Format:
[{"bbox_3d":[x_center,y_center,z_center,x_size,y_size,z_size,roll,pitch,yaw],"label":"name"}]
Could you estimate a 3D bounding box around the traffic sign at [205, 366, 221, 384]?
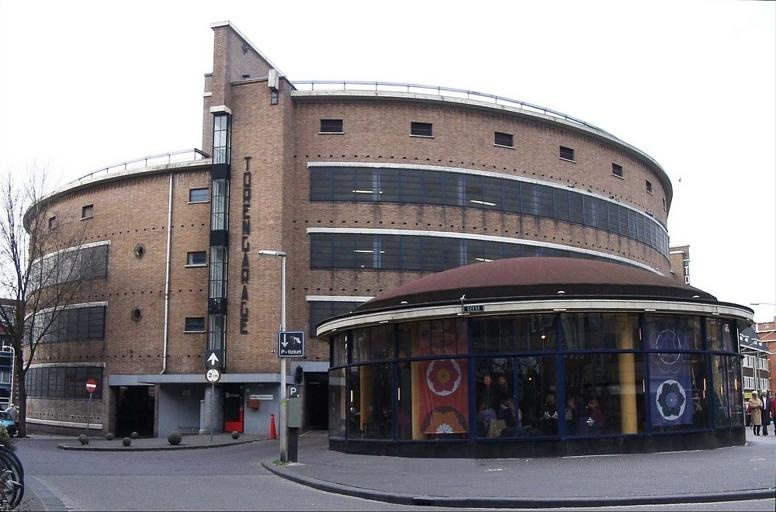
[{"bbox_3d":[-9.234,6.261,48.773,0.619,0.826,1.457,-6,5,-8],"label":"traffic sign"}]
